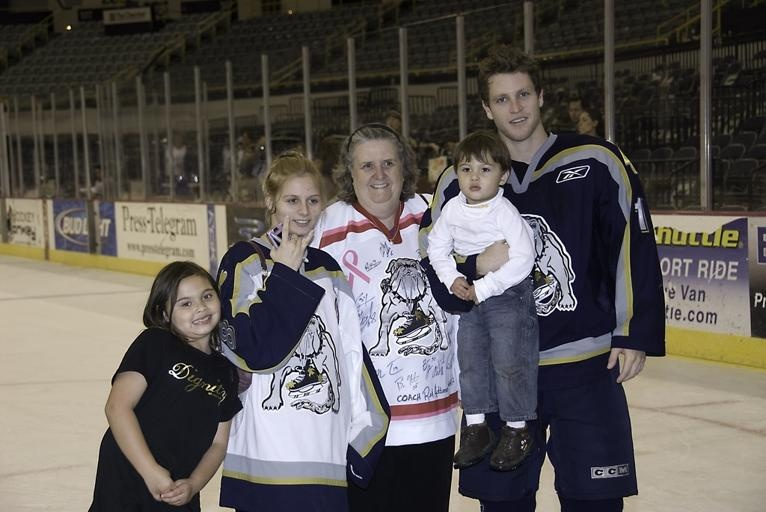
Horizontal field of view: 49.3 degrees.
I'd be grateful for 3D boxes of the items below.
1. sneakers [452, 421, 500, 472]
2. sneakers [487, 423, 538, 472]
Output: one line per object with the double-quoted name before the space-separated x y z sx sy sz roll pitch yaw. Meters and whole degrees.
"sneakers" 0.690 1.441 6.401 0.434 0.308 0.198 -26 11 -39
"sneakers" 0.995 1.448 6.402 0.230 0.258 0.414 12 52 42
